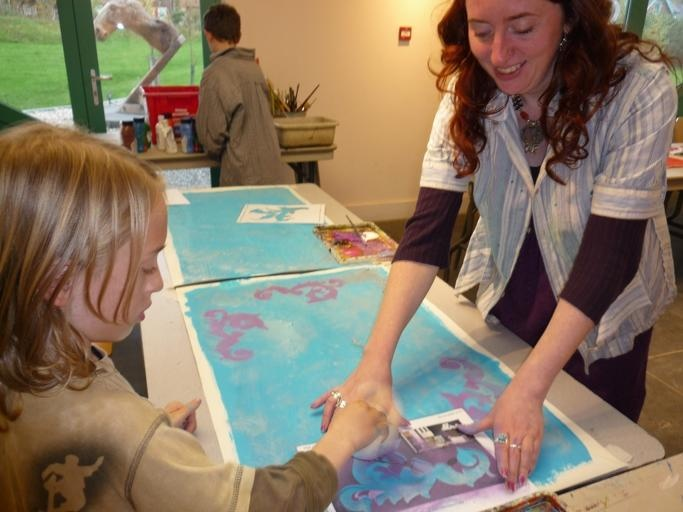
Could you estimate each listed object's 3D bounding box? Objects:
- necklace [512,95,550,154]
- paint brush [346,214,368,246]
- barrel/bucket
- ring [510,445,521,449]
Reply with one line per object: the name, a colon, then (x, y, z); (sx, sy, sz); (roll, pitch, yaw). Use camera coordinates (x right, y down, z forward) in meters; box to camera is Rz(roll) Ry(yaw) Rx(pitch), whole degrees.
necklace: (0.482, -0.323, 1.235); (0.081, 0.141, 0.034); (-18, 1, 5)
paint brush: (0.057, -0.100, 1.920); (0.020, 0.024, 0.273); (-30, 35, 0)
barrel/bucket: (-1.214, -1.017, 3.469); (0.309, 0.257, 0.471); (-3, 13, -11)
ring: (0.340, 0.369, 0.945); (0.010, 0.004, 0.011); (2, 3, 0)
